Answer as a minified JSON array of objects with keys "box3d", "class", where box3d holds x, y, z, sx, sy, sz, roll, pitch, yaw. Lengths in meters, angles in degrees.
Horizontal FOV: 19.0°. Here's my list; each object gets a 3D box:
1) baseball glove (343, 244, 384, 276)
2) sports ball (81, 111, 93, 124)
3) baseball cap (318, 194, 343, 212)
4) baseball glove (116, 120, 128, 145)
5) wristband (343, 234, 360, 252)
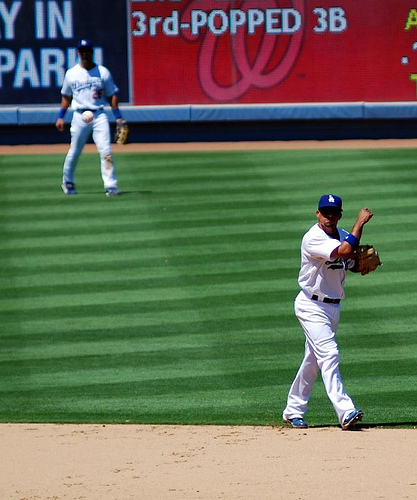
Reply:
[{"box3d":[1.134,0.087,8.655,0.135,0.089,0.179,20,-37,-14],"class":"baseball glove"},{"box3d":[-1.311,-1.431,13.325,0.104,0.082,0.112,1,12,0],"class":"sports ball"},{"box3d":[0.852,-0.330,8.614,0.161,0.116,0.148,4,11,4],"class":"baseball cap"},{"box3d":[-0.968,-1.350,14.039,0.076,0.207,0.152,-2,0,-7],"class":"baseball glove"},{"box3d":[0.988,-0.039,8.463,0.109,0.082,0.107,15,20,-9],"class":"wristband"}]
